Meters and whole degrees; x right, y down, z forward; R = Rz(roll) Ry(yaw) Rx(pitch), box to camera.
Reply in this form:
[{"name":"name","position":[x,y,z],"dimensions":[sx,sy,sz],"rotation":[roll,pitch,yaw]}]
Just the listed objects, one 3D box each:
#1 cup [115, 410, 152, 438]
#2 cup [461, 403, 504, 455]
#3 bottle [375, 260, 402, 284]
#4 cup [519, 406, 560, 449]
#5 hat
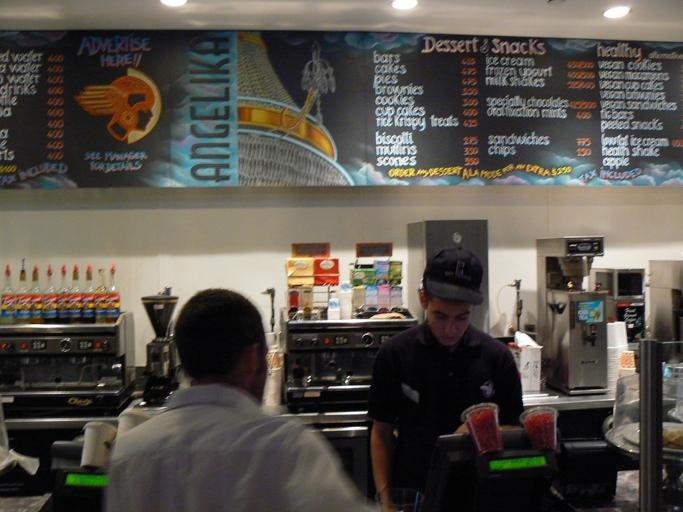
[{"name":"cup","position":[-0.712,0.559,2.233],"dimensions":[0.103,0.099,0.105],"rotation":[-7,-31,-4]},{"name":"cup","position":[0.497,0.604,2.282],"dimensions":[0.152,0.136,0.156],"rotation":[-2,-32,-1]},{"name":"bottle","position":[0.305,0.100,4.186],"dimensions":[0.148,0.136,0.053],"rotation":[0,9,-2]},{"name":"cup","position":[0.701,0.611,2.317],"dimensions":[0.139,0.134,0.139],"rotation":[2,-23,1]},{"name":"hat","position":[0.495,0.083,2.869],"dimensions":[0.266,0.255,0.160],"rotation":[-2,-3,6]}]
